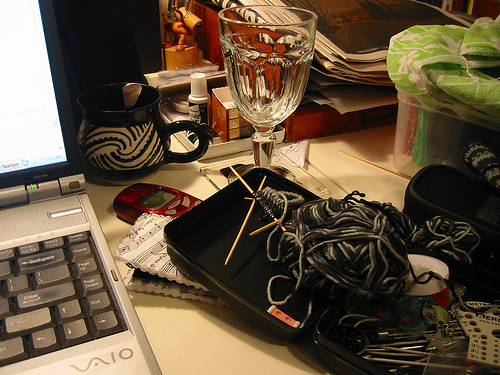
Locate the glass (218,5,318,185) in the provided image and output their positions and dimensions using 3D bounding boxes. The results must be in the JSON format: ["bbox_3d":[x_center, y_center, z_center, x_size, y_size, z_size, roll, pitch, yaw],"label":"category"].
[{"bbox_3d":[0.027,-0.132,0.678,0.143,0.276,0.143,-24,39,-36],"label":"glass"}]

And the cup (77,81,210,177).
[{"bbox_3d":[-0.147,-0.069,0.601,0.184,0.113,0.121,7,28,0],"label":"cup"}]
